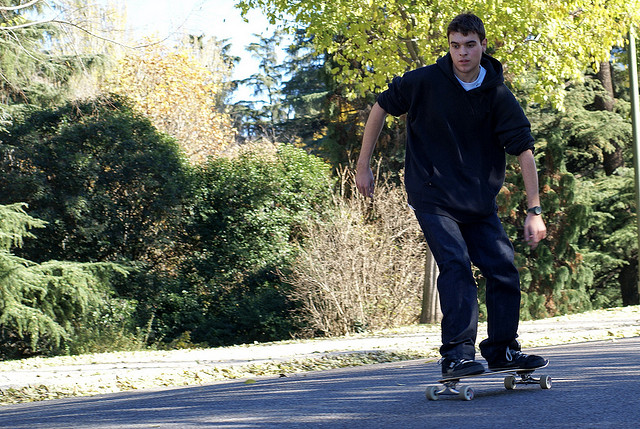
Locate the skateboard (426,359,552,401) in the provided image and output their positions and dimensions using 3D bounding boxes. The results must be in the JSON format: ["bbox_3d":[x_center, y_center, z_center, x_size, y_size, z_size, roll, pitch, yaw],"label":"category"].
[{"bbox_3d":[2.362,2.299,13.852,1.825,0.431,0.318,-4,2,-8],"label":"skateboard"}]

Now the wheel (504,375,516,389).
[{"bbox_3d":[2.674,2.308,14.022,0.161,0.267,0.287,3,-6,18],"label":"wheel"}]

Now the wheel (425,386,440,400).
[{"bbox_3d":[1.556,2.463,13.802,0.091,0.205,0.225,1,-1,35],"label":"wheel"}]

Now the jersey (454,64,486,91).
[{"bbox_3d":[2.132,-1.888,13.957,0.405,0.338,0.136,-5,2,-22],"label":"jersey"}]

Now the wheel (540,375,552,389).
[{"bbox_3d":[3.134,2.338,13.953,0.073,0.162,0.176,-6,-9,24],"label":"wheel"}]
